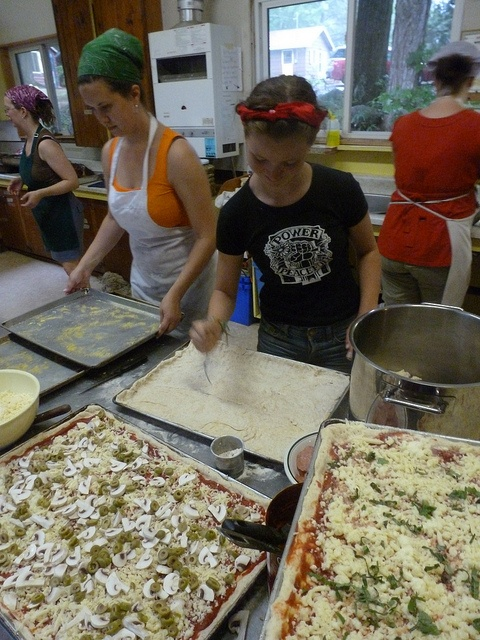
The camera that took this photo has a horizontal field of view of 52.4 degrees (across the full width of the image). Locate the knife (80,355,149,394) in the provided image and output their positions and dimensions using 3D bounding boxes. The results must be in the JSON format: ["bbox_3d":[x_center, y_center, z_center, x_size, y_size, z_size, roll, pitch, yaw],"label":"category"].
[{"bbox_3d":[-0.375,0.157,1.481,0.063,0.011,0.239,18,31,32],"label":"knife"}]

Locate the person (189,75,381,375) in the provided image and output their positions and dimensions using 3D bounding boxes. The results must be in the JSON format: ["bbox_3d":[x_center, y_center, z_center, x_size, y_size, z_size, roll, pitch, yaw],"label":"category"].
[{"bbox_3d":[0.146,-0.216,1.398,0.515,0.862,0.514,5,25,14],"label":"person"}]

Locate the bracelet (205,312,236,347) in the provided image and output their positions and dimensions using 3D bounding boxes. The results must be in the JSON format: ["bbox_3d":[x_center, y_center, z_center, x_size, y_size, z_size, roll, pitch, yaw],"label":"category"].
[{"bbox_3d":[-0.056,0.022,1.392,0.031,0.063,0.084,-16,68,-13],"label":"bracelet"}]

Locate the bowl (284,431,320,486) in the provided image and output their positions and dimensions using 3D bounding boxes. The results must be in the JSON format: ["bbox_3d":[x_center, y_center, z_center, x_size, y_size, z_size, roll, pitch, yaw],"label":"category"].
[{"bbox_3d":[0.134,0.279,0.987,0.025,0.100,0.098,33,26,-19],"label":"bowl"}]
